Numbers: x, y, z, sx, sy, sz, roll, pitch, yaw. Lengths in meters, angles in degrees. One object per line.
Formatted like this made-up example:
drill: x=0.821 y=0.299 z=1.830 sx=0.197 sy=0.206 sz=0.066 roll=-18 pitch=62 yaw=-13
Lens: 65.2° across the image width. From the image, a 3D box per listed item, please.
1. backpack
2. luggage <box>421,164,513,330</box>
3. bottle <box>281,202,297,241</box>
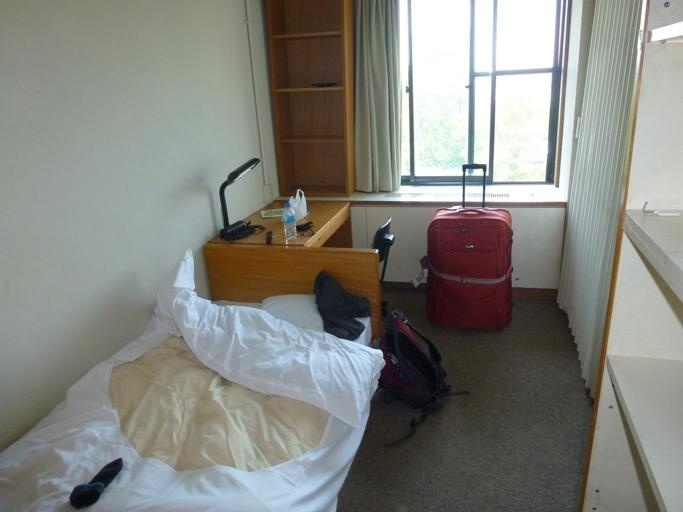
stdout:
backpack: x=0.422 y=0.578 z=3.165 sx=0.469 sy=0.518 sz=0.431 roll=11 pitch=20 yaw=22
luggage: x=0.874 y=-0.041 z=3.702 sx=0.577 sy=1.049 sz=0.514 roll=4 pitch=18 yaw=20
bottle: x=-0.328 y=-0.217 z=3.364 sx=0.078 sy=0.180 sz=0.238 roll=-2 pitch=21 yaw=-4
